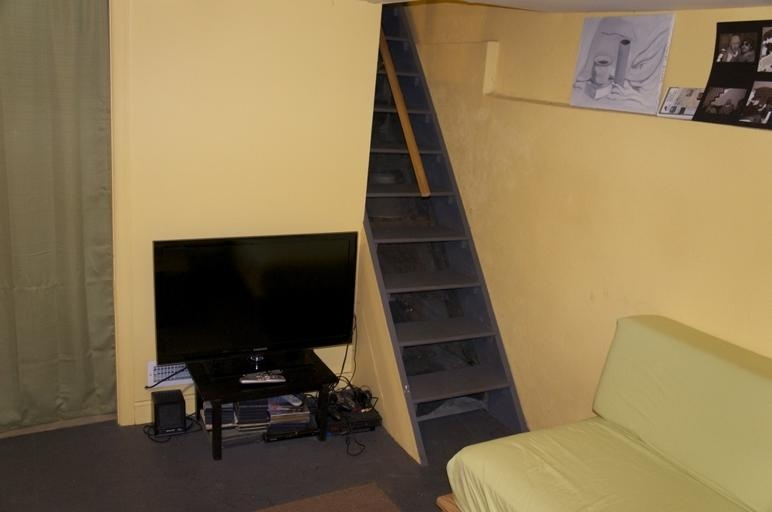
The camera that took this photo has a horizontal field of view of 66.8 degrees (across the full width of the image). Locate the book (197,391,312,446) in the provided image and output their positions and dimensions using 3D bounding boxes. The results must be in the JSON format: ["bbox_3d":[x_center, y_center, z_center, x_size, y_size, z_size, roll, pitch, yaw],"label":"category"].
[{"bbox_3d":[-0.884,1.178,4.222,0.475,0.120,0.478,-3,16,-17],"label":"book"}]

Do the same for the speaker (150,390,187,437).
[{"bbox_3d":[-1.599,1.144,4.265,0.252,0.322,0.225,-5,-3,-21],"label":"speaker"}]

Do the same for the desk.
[{"bbox_3d":[-0.912,0.881,4.215,0.982,0.527,0.721,-6,22,-22],"label":"desk"}]

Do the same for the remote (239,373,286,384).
[{"bbox_3d":[-0.897,0.877,4.180,0.215,0.053,0.119,0,8,-19],"label":"remote"}]
